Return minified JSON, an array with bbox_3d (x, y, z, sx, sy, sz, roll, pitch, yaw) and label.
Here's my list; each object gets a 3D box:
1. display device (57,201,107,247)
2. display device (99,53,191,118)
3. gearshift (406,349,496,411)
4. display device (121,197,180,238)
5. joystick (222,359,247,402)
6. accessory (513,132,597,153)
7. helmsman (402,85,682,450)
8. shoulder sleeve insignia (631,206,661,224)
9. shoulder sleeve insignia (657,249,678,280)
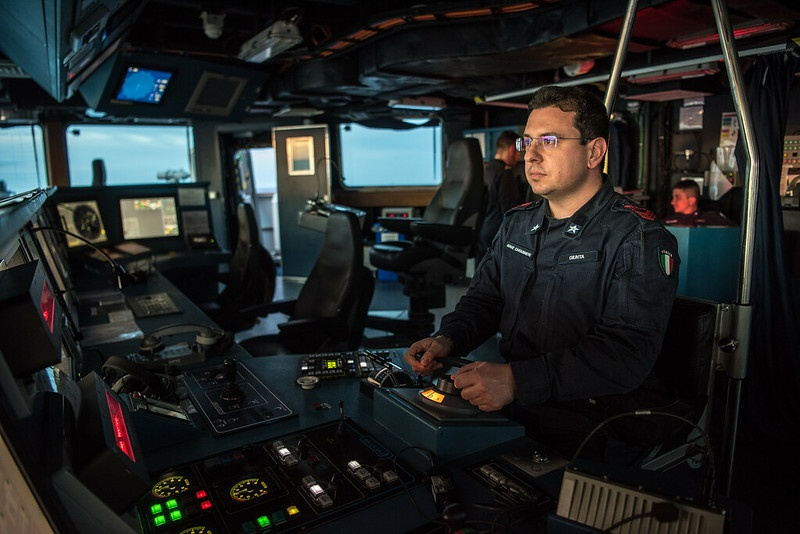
[{"bbox_3d":[-2.599,-0.363,4.768,0.092,0.359,0.365,-2,10,22],"label":"display device"},{"bbox_3d":[-2.200,-1.571,4.978,0.103,0.527,0.802,46,24,28],"label":"display device"},{"bbox_3d":[0.156,0.390,2.087,0.190,0.169,0.307,-6,9,-7],"label":"gearshift"},{"bbox_3d":[-2.224,-0.436,5.184,0.097,0.365,0.476,2,12,38],"label":"display device"},{"bbox_3d":[-0.641,0.434,2.213,0.082,0.153,0.084,-9,10,-16],"label":"joystick"},{"bbox_3d":[0.564,-0.468,2.161,0.275,0.063,0.103,-2,9,17],"label":"accessory"},{"bbox_3d":[0.673,0.081,2.413,0.987,1.476,0.829,-1,9,-31],"label":"helmsman"},{"bbox_3d":[0.890,-0.202,2.120,0.078,0.022,0.081,37,39,22],"label":"shoulder sleeve insignia"},{"bbox_3d":[0.942,-0.013,2.039,0.078,0.094,0.030,-8,10,-18],"label":"shoulder sleeve insignia"}]
